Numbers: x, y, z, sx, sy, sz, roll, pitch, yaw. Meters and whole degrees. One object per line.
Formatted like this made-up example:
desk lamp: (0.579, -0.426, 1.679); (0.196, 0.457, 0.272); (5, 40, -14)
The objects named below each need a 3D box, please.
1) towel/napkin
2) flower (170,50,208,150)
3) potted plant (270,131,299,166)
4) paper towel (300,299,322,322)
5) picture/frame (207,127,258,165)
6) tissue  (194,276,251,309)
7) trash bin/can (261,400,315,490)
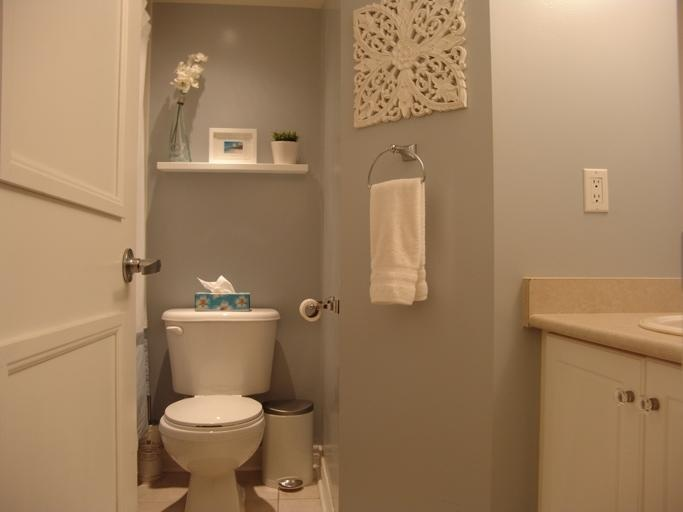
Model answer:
towel/napkin: (0.179, -0.048, 1.830); (0.183, 0.386, 0.085); (-1, 0, 14)
flower: (-0.722, -0.720, 2.664); (0.182, 0.431, 0.144); (-1, 0, -16)
potted plant: (-0.277, -0.520, 2.741); (0.139, 0.116, 0.135); (0, -2, -15)
paper towel: (-0.123, 0.220, 2.290); (0.082, 0.084, 0.171); (-1, -1, -4)
picture/frame: (-0.519, -0.530, 2.705); (0.195, 0.159, 0.024); (-1, -14, -6)
tissue : (-0.542, 0.187, 2.555); (0.173, 0.118, 0.173); (1, -4, -6)
trash bin/can: (-0.238, 0.840, 2.505); (0.225, 0.383, 0.331); (0, -1, -11)
